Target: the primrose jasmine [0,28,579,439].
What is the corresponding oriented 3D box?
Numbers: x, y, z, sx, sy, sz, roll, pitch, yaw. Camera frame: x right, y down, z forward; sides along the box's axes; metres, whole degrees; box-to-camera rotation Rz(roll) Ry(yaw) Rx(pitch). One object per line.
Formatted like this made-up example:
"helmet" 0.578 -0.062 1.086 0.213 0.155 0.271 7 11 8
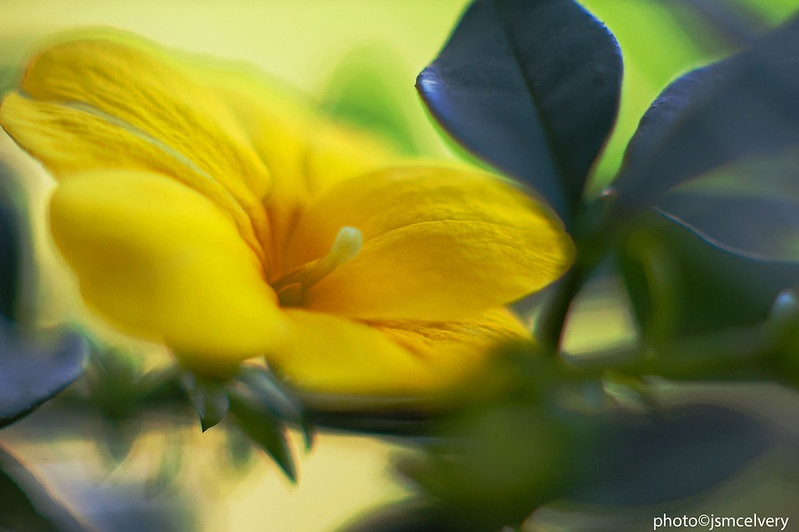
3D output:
"primrose jasmine" -0.138 -0.038 1.036 0.603 0.262 0.276 11 53 18
